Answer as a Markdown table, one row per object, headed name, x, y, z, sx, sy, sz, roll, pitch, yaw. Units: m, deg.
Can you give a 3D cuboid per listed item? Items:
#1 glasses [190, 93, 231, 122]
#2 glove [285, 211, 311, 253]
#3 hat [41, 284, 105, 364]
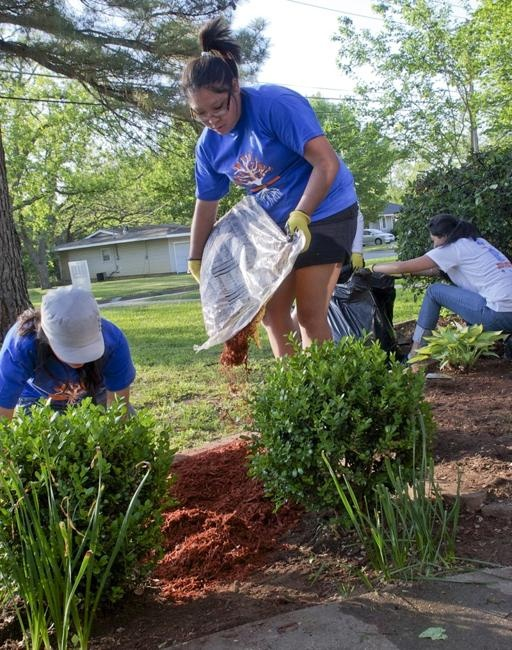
| name | x | y | z | sx | sy | sz | roll | pitch | yaw |
| --- | --- | --- | --- | --- | --- | --- | --- | --- | --- |
| glasses | -0.210 | -0.987 | 2.779 | 0.194 | 0.078 | 0.164 | -10 | 7 | 11 |
| glove | 0.179 | -0.413 | 2.770 | 0.142 | 0.166 | 0.055 | 26 | -27 | -33 |
| hat | -0.722 | -0.005 | 2.419 | 0.238 | 0.298 | 0.180 | -17 | -24 | -29 |
